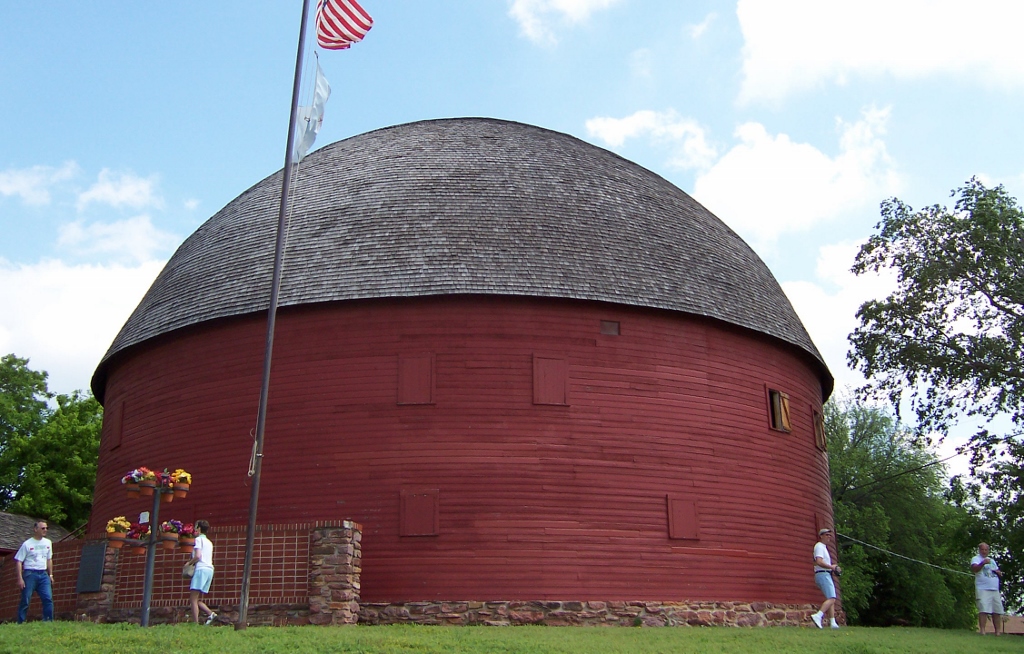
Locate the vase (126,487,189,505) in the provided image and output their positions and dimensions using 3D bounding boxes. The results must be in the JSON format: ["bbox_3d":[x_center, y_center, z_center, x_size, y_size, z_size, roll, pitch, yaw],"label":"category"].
[{"bbox_3d":[-8.706,4.039,20.029,1.294,0.394,0.581,7,-22,-17],"label":"vase"}]

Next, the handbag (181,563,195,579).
[{"bbox_3d":[-7.917,5.917,20.067,0.234,0.315,0.564,8,-23,-19],"label":"handbag"}]

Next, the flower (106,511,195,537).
[{"bbox_3d":[-9.671,5.307,22.033,2.198,0.634,1.697,8,-24,-11],"label":"flower"}]
